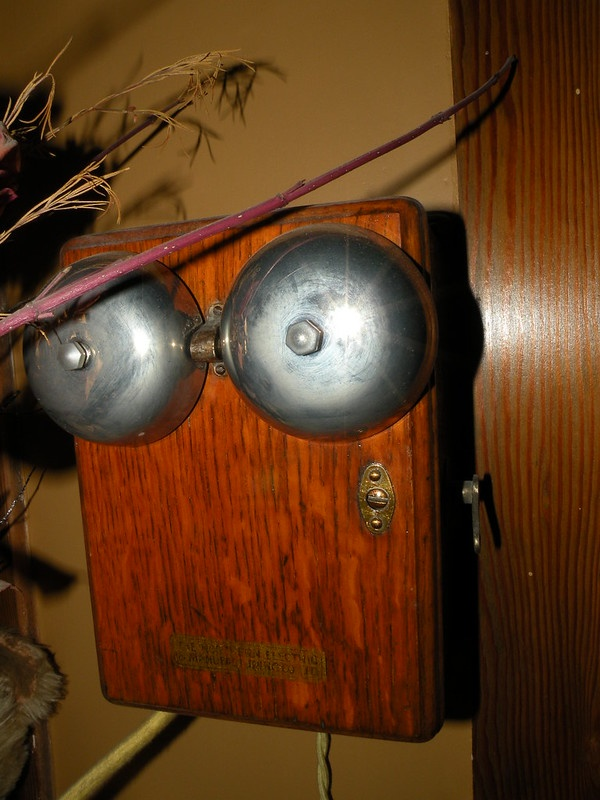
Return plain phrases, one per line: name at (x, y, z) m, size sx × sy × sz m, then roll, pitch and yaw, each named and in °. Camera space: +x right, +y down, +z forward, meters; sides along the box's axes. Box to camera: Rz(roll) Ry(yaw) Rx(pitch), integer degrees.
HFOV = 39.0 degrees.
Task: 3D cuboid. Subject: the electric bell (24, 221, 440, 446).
electric bell at (-0.058, -0.048, 0.759) m, size 0.356 × 0.173 × 0.172 m, roll -5°, pitch -43°, yaw 17°
